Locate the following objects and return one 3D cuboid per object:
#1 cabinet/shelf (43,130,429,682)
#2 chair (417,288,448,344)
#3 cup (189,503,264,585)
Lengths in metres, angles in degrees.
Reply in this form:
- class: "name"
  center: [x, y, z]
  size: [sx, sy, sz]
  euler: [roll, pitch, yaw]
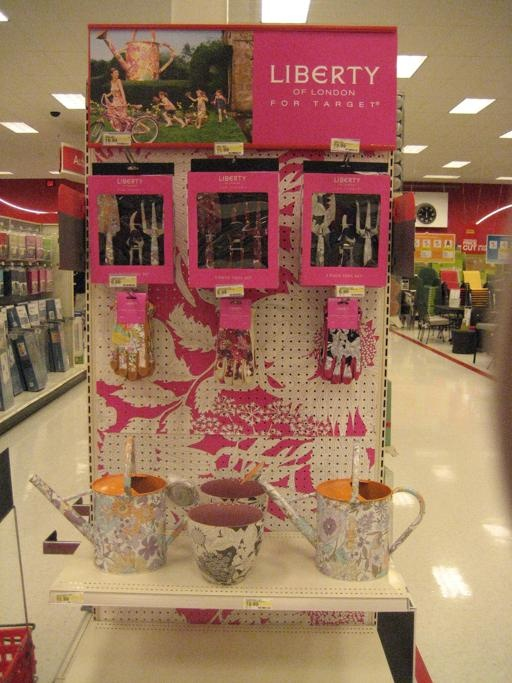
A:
- class: "cabinet/shelf"
  center: [-0.085, 0.250, 1.469]
  size: [1.025, 1.533, 0.595]
  euler: [2, 8, 12]
- class: "chair"
  center: [3.439, -0.482, 10.952]
  size: [0.384, 0.704, 1.057]
  euler: [-1, 14, -1]
- class: "cup"
  center: [-0.074, 0.472, 1.342]
  size: [0.177, 0.152, 0.204]
  euler: [-1, 8, -5]
